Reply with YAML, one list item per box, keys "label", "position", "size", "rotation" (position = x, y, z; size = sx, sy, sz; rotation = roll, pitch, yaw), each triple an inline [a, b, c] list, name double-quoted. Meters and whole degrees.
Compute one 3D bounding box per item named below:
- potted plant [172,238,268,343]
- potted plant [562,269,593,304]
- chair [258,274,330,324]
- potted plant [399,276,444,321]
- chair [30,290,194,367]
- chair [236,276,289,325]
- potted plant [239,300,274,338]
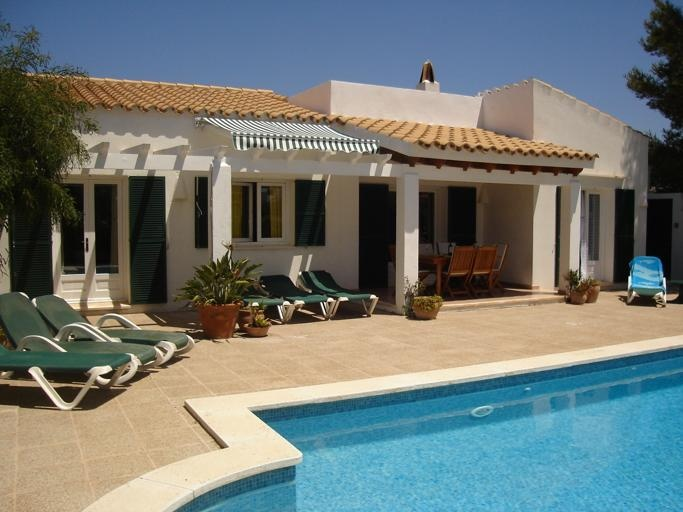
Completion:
- label: "potted plant"
  position: [-2.500, 0.796, 11.813]
  size: [2.106, 1.905, 2.089]
  rotation: [1, -5, -7]
- label: "potted plant"
  position: [6.831, 0.854, 15.582]
  size: [0.771, 0.656, 0.599]
  rotation: [1, -1, 27]
- label: "chair"
  position: [-1.110, 1.025, 13.163]
  size: [0.937, 0.694, 1.828]
  rotation: [0, 7, -30]
- label: "potted plant"
  position: [1.930, 1.021, 13.324]
  size: [1.016, 1.085, 1.247]
  rotation: [1, -1, 38]
- label: "chair"
  position: [-3.803, 1.196, 9.172]
  size: [2.579, 0.993, 1.229]
  rotation: [5, 2, 6]
- label: "chair"
  position: [-1.694, 1.135, 12.634]
  size: [0.647, 0.539, 1.536]
  rotation: [1, 3, -24]
- label: "potted plant"
  position: [-1.800, 1.336, 11.436]
  size: [0.754, 0.458, 0.707]
  rotation: [0, 2, 20]
